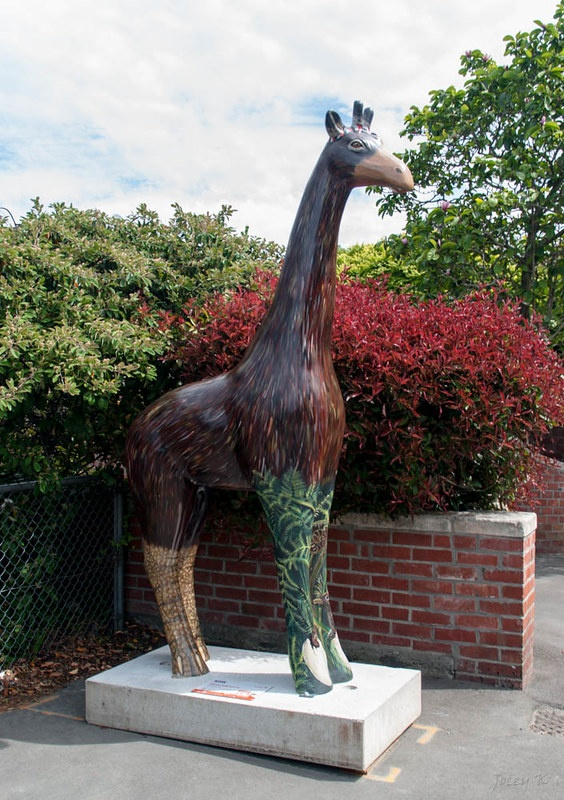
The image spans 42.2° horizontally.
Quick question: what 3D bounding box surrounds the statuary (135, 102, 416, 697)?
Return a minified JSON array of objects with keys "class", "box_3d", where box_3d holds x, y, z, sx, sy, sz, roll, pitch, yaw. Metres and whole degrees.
[{"class":"statuary","box_3d":[-0.056,0.000,3.417,1.311,2.667,0.445,-2,-2,36]}]
